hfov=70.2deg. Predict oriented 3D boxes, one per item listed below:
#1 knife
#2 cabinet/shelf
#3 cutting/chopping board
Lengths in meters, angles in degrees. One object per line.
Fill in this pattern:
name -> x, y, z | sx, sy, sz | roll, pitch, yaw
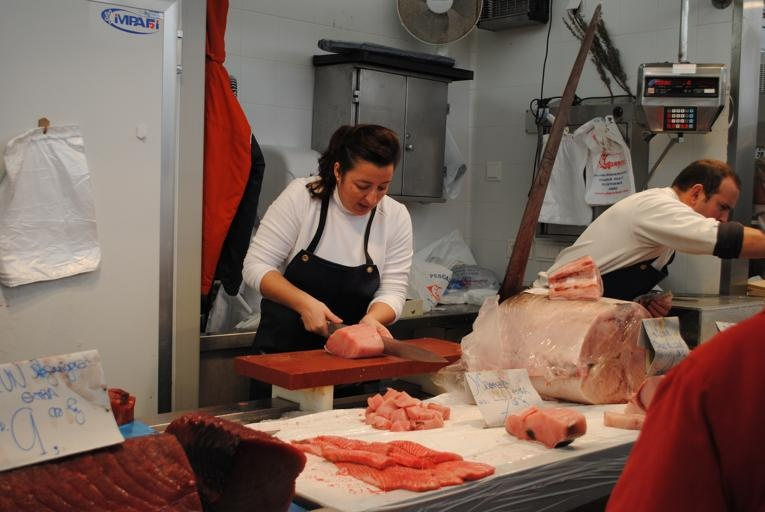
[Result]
knife -> -0.031, 0.382, 2.357 | 0.628, 0.159, 0.195 | 10, 12, 16
cabinet/shelf -> -0.001, -0.970, 4.674 | 0.515, 1.207, 1.258 | 1, -2, 40
cutting/chopping board -> -0.126, 0.525, 2.368 | 0.944, 0.217, 0.387 | -1, 6, -28
